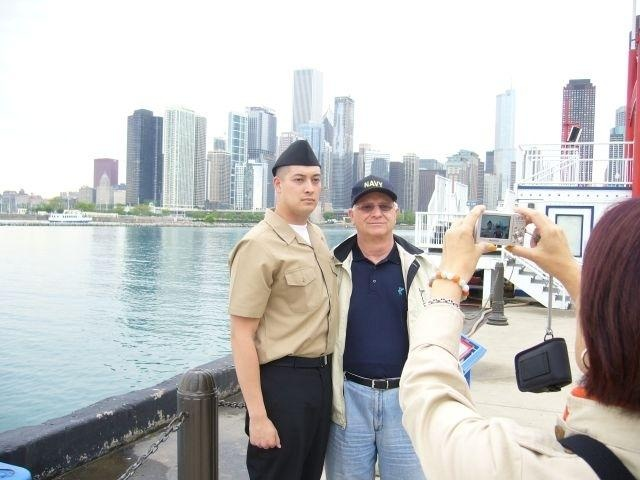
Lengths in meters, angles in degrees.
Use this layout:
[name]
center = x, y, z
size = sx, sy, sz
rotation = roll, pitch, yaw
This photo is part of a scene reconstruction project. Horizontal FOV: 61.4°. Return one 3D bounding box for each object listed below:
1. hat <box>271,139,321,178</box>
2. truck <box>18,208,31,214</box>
[hat]
center = -0.120, -0.492, 3.290
size = 0.184, 0.153, 0.260
rotation = -3, 11, -24
[truck]
center = -110.321, -10.877, 203.193
size = 3.148, 3.305, 2.418
rotation = 0, -3, -14
